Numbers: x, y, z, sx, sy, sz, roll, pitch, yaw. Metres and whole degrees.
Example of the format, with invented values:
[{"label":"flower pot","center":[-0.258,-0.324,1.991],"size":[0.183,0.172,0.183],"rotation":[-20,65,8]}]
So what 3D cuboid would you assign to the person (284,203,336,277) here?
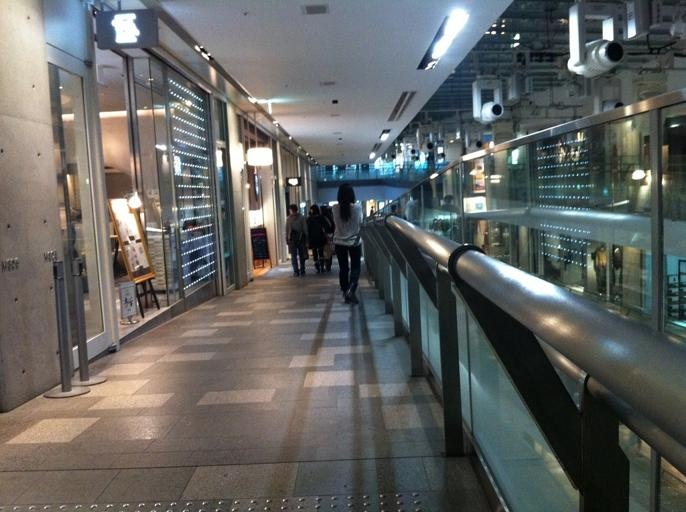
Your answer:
[{"label":"person","center":[-0.747,-0.368,10.881],"size":[0.909,1.489,1.100],"rotation":[-3,4,-7]}]

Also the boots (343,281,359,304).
[{"label":"boots","center":[0.111,0.487,6.881],"size":[0.172,0.308,0.295],"rotation":[-3,4,-1]}]

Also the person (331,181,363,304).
[{"label":"person","center":[0.070,-0.195,7.119],"size":[0.389,1.640,0.864],"rotation":[-3,4,0]}]

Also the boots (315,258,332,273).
[{"label":"boots","center":[-0.404,0.169,11.138],"size":[0.263,0.490,0.336],"rotation":[-2,11,-22]}]
